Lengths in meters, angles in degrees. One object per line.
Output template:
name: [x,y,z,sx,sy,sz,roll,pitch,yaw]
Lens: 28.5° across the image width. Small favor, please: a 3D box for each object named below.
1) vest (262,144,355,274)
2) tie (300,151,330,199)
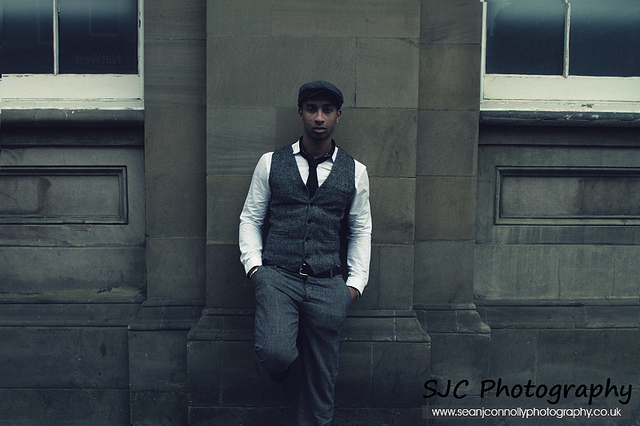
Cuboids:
vest: [-0.089,-0.069,12.855,1.027,1.200,0.594,5,2,0]
tie: [-0.054,-0.387,12.670,0.324,0.328,0.229,1,8,-10]
